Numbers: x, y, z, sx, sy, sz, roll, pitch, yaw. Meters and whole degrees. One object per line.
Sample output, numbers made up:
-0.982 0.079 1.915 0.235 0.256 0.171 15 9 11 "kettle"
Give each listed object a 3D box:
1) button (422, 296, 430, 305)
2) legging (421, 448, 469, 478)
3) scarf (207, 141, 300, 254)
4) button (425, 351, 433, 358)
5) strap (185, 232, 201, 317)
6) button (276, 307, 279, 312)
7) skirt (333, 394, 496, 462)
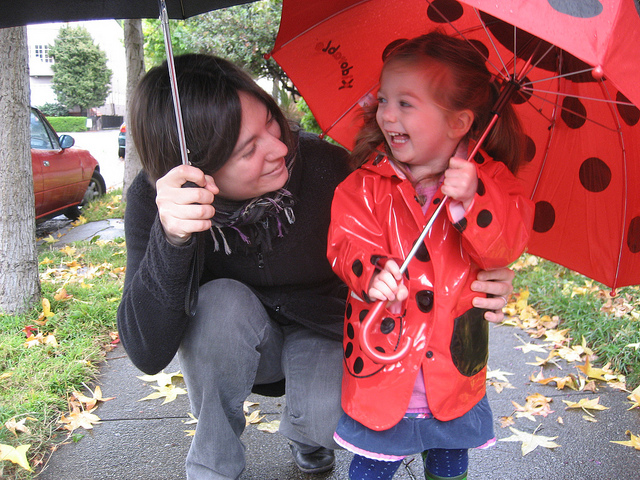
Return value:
0.434 0.251 2.162 0.027 0.030 0.007 16 10 19 "button"
0.551 0.941 2.332 0.156 0.174 0.160 -1 3 -12 "legging"
-0.288 -0.195 2.430 0.438 0.480 0.188 -1 13 -22 "scarf"
0.441 0.465 2.125 0.026 0.023 0.011 4 12 3 "button"
-0.544 0.140 2.242 0.058 0.386 0.175 1 12 -13 "strap"
-0.204 0.334 2.525 0.012 0.016 0.016 5 18 7 "button"
0.404 0.798 2.205 0.677 0.245 0.189 3 12 -5 "skirt"
